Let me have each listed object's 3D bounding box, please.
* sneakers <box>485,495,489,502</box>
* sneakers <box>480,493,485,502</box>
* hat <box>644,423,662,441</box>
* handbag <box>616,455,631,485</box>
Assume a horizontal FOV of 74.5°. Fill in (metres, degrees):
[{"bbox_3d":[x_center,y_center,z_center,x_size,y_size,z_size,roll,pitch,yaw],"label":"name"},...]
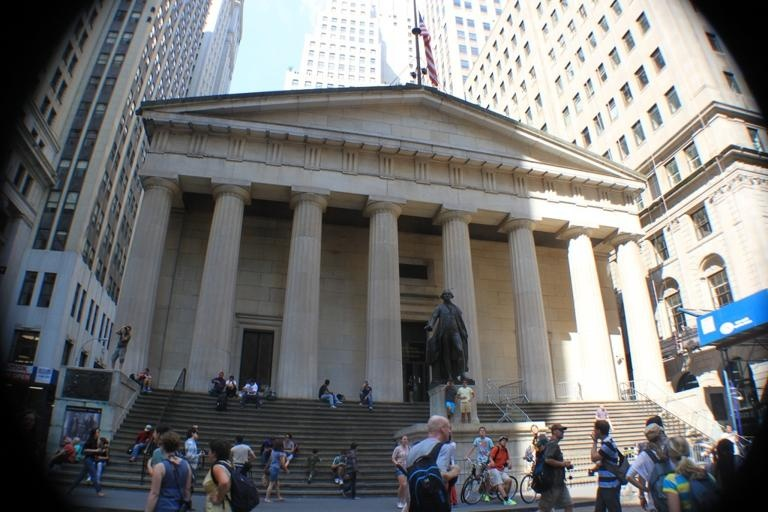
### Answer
[{"bbox_3d":[3.057,7.166,14.928,0.182,0.162,0.179,1,-20,6],"label":"sneakers"},{"bbox_3d":[2.966,7.191,15.022,0.119,0.176,0.356,5,-20,-7],"label":"sneakers"},{"bbox_3d":[4.480,2.932,8.405,0.248,0.283,0.399,-8,-22,28],"label":"hat"},{"bbox_3d":[4.368,3.932,9.270,0.169,0.487,0.917,-6,-21,23],"label":"handbag"}]
